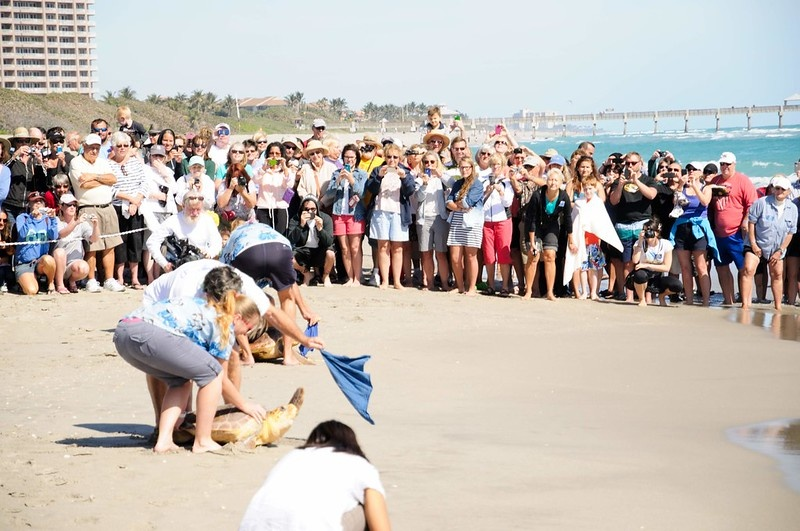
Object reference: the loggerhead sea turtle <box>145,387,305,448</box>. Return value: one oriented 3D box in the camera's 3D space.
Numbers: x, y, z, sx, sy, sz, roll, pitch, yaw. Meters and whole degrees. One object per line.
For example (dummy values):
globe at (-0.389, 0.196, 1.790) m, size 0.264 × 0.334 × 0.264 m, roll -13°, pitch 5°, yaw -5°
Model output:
loggerhead sea turtle at (-2.124, 2.096, 16.653) m, size 1.384 × 0.452 × 0.977 m, roll -2°, pitch -7°, yaw -1°

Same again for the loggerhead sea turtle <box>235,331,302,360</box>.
loggerhead sea turtle at (-1.994, 1.148, 18.566) m, size 0.590 × 0.224 × 0.584 m, roll 0°, pitch 2°, yaw -32°

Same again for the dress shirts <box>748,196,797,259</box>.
dress shirts at (6.645, -0.709, 22.445) m, size 1.029 × 1.232 × 0.658 m, roll 0°, pitch 8°, yaw -2°

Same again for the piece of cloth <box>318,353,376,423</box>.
piece of cloth at (-0.969, 1.644, 17.115) m, size 0.628 × 1.015 × 1.328 m, roll 1°, pitch 0°, yaw -5°
